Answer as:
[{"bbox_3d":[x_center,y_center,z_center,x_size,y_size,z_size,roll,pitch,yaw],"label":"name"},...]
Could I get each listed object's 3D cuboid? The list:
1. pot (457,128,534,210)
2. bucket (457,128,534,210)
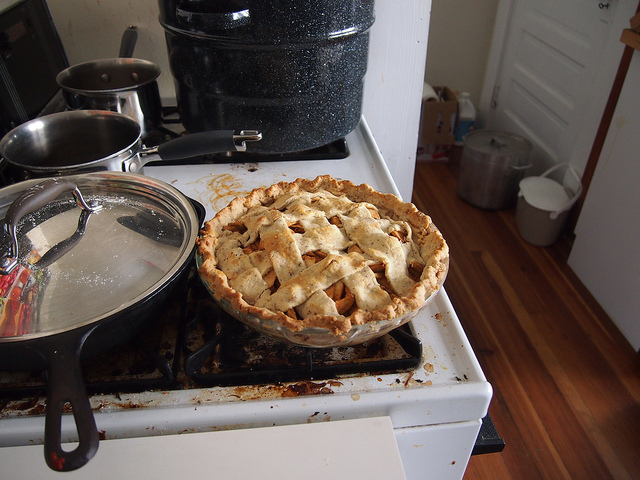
[{"bbox_3d":[0.883,-0.394,2.555,0.401,0.418,0.386,0,37,0],"label":"pot"},{"bbox_3d":[0.929,-0.403,2.561,0.323,0.374,0.357,22,45,27],"label":"bucket"}]
